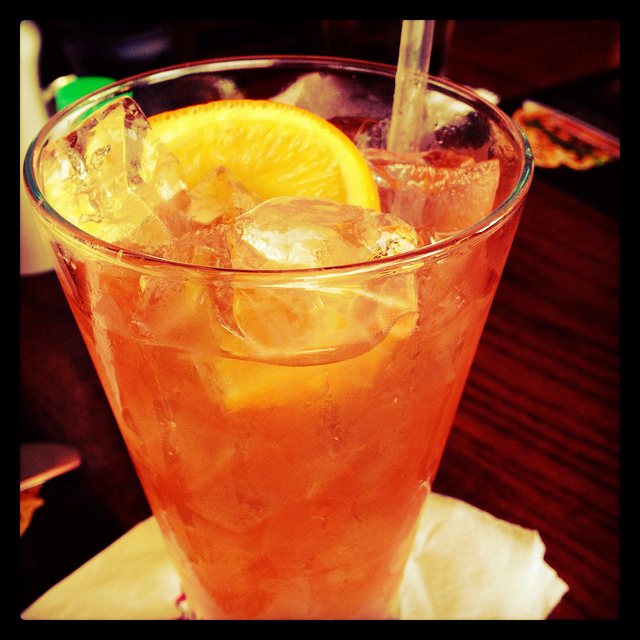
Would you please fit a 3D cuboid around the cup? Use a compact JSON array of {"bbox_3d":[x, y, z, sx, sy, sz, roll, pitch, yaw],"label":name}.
[{"bbox_3d":[-0.056,0.028,0.812,0.484,0.566,0.509,0,46,0],"label":"cup"}]
